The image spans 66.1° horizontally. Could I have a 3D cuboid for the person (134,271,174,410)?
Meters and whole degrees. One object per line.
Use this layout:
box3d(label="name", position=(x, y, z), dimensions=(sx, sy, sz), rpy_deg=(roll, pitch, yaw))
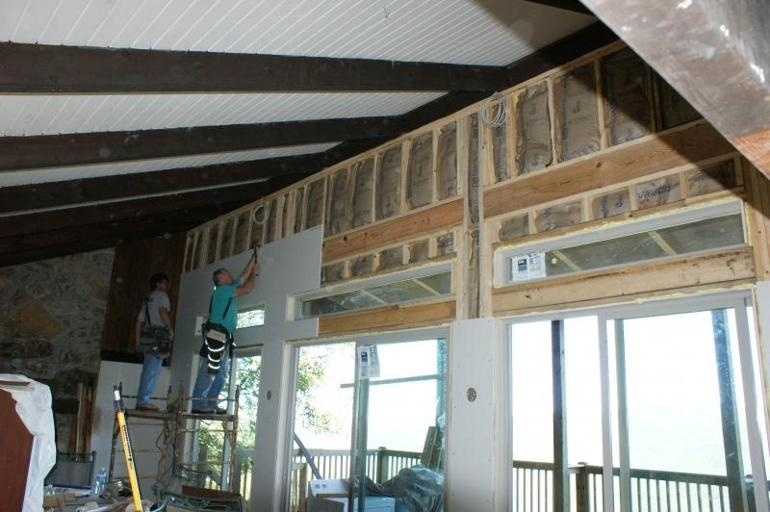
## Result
box3d(label="person", position=(-3.515, 1.257, 8.998), dimensions=(0.517, 2.110, 1.269), rpy_deg=(10, -20, -21))

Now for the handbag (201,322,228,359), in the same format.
box3d(label="handbag", position=(-2.316, 1.228, 8.172), dimensions=(0.288, 0.248, 0.212), rpy_deg=(12, -22, -28))

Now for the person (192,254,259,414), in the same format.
box3d(label="person", position=(-2.272, 1.067, 8.519), dimensions=(0.673, 2.325, 0.729), rpy_deg=(8, -20, -15))

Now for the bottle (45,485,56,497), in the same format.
box3d(label="bottle", position=(-3.160, 2.198, 5.606), dimensions=(0.096, 0.047, 0.675), rpy_deg=(10, -19, -26))
